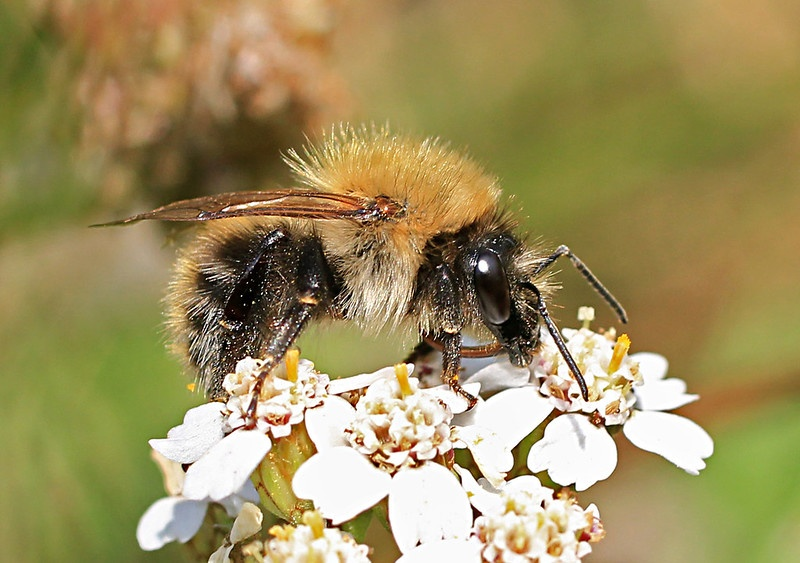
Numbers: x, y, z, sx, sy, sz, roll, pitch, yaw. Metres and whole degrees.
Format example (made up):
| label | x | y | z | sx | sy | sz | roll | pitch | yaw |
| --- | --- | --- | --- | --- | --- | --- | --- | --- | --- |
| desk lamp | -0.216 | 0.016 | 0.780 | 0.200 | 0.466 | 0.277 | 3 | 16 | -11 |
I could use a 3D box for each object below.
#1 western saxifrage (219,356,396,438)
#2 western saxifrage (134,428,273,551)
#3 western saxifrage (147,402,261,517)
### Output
| label | x | y | z | sx | sy | sz | roll | pitch | yaw |
| --- | --- | --- | --- | --- | --- | --- | --- | --- | --- |
| western saxifrage | -0.379 | 0.397 | 2.886 | 0.411 | 0.139 | 0.321 | -6 | 9 | -6 |
| western saxifrage | -0.747 | 0.727 | 3.187 | 0.472 | 0.147 | 0.433 | 23 | -7 | -42 |
| western saxifrage | -0.642 | 0.597 | 2.822 | 0.360 | 0.123 | 0.381 | 19 | 40 | 42 |
